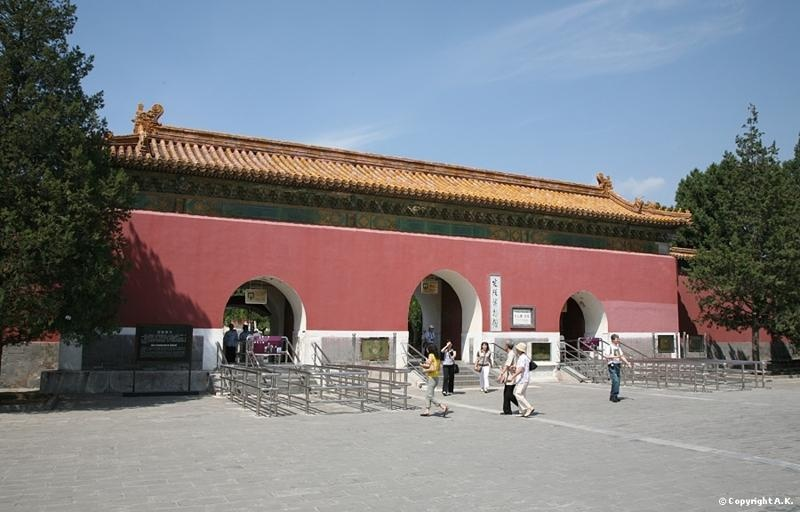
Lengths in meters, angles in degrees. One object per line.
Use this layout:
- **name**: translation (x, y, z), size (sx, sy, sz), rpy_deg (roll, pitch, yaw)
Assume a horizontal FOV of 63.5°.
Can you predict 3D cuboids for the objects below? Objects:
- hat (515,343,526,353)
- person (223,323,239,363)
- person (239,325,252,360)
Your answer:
- **hat**: translation (2.991, 2.282, 15.961), size (0.214, 0.217, 0.579), rpy_deg (-2, -10, 7)
- **person**: translation (-5.595, 2.853, 21.179), size (0.476, 1.315, 1.625), rpy_deg (2, -11, -15)
- **person**: translation (-5.138, 2.816, 21.175), size (0.383, 1.326, 2.678), rpy_deg (2, -10, -13)
